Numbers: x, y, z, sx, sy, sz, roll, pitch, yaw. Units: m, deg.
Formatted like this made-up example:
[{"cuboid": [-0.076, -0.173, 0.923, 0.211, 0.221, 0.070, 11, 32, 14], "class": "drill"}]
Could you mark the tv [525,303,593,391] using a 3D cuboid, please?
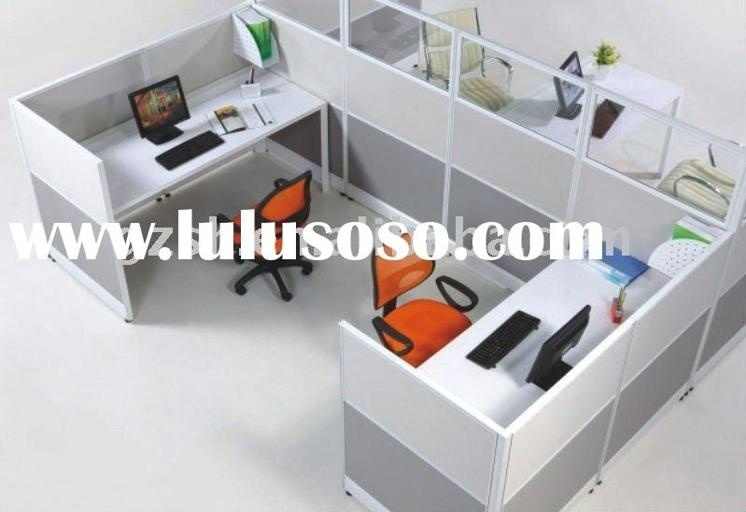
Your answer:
[{"cuboid": [1.174, 0.593, 3.808, 0.116, 0.369, 0.363, 36, 63, 25], "class": "tv"}]

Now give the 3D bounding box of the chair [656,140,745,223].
[{"cuboid": [2.223, -0.500, 4.126, 0.454, 0.195, 0.358, 31, 81, 20], "class": "chair"}]

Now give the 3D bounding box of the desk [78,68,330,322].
[{"cuboid": [-1.566, -0.538, 5.487, 0.844, 1.335, 1.882, 37, 60, 22], "class": "desk"}]

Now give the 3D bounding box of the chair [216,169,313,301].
[{"cuboid": [-0.886, -0.216, 5.343, 0.751, 1.210, 0.563, 4, 18, -7], "class": "chair"}]

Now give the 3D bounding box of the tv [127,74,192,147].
[{"cuboid": [-1.930, -1.284, 5.393, 0.205, 0.476, 0.497, 36, 48, 26], "class": "tv"}]
